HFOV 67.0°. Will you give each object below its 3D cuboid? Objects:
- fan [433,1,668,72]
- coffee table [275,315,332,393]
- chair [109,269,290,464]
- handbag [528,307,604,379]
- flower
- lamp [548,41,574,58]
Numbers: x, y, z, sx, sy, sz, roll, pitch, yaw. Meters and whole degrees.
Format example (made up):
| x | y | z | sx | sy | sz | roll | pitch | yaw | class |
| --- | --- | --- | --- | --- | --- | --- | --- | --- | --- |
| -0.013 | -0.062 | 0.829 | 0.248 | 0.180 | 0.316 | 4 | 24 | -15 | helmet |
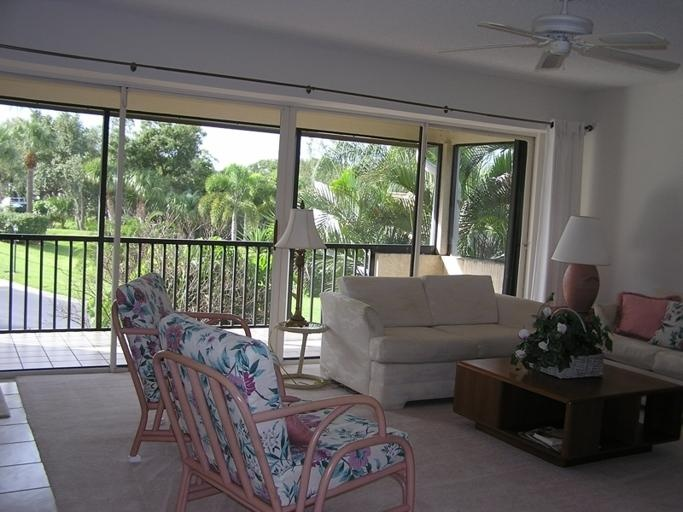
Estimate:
| x | y | z | sx | sy | sz | roll | pitch | yaw | class |
| --- | --- | --- | --- | --- | --- | --- | --- | --- | --- |
| 1.474 | -1.567 | 3.644 | 0.719 | 0.269 | 0.730 | 3 | 1 | -9 | fan |
| -0.358 | 0.857 | 4.568 | 0.504 | 0.585 | 0.521 | 2 | 1 | -11 | coffee table |
| -0.901 | 0.639 | 3.111 | 0.736 | 0.957 | 0.661 | -5 | -2 | 5 | chair |
| 1.663 | 0.584 | 3.682 | 0.497 | 0.406 | 0.590 | 3 | 4 | -23 | handbag |
| 1.616 | 0.521 | 3.576 | 0.387 | 0.276 | 0.361 | 5 | 13 | 15 | flower |
| 1.256 | -1.190 | 2.969 | 0.123 | 0.050 | 0.186 | 3 | 5 | 24 | lamp |
